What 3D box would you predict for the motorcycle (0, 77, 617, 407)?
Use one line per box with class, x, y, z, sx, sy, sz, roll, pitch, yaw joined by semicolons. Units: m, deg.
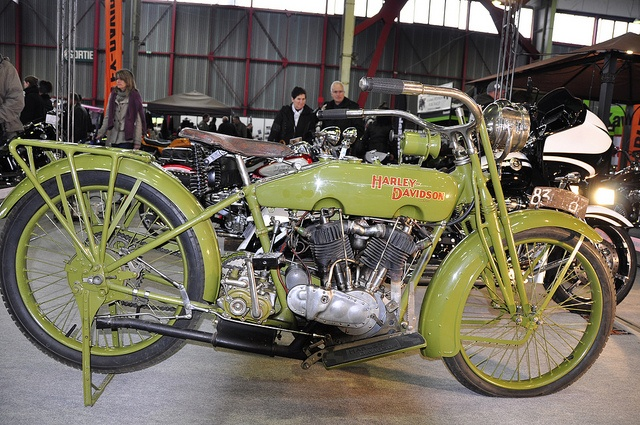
motorcycle;-0.063;0.089;3.192;3.619;1.861;1.590;5;13;9
